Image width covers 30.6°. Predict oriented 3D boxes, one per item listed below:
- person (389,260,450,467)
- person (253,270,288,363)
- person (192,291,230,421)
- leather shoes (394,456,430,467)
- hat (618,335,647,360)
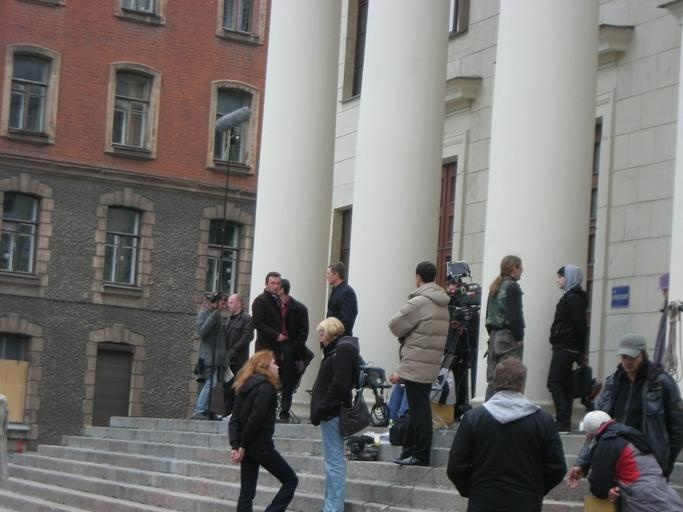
[{"bbox_3d":[1.046,1.446,16.707,0.785,2.712,0.467,0,-6,2],"label":"person"},{"bbox_3d":[-1.168,0.982,19.816,0.580,1.432,0.495,-2,-6,15],"label":"person"},{"bbox_3d":[-2.417,1.834,23.032,0.591,2.321,1.148,0,-6,-7],"label":"person"},{"bbox_3d":[0.938,2.740,16.651,0.447,0.180,0.163,7,-8,12],"label":"leather shoes"},{"bbox_3d":[3.424,1.078,14.771,0.292,0.270,0.224,-2,-6,15],"label":"hat"}]
